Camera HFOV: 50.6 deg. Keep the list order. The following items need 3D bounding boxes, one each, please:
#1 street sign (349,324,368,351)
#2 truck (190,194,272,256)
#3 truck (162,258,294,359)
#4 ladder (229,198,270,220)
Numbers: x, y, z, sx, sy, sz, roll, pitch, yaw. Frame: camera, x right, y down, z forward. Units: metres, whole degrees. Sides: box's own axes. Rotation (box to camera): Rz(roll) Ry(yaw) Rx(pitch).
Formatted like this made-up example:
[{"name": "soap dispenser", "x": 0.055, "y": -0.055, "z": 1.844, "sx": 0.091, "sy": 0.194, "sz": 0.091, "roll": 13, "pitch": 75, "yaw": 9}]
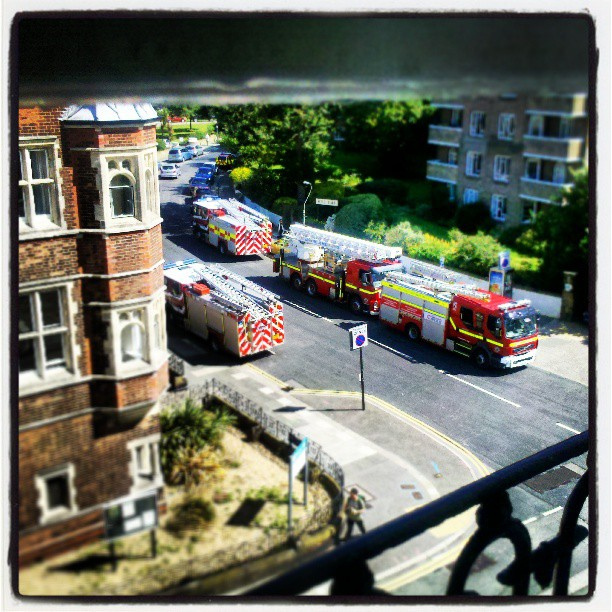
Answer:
[{"name": "street sign", "x": 0.870, "y": 0.525, "z": 10.785, "sx": 0.087, "sy": 0.571, "sz": 0.584, "roll": 1, "pitch": 9, "yaw": 38}, {"name": "truck", "x": -2.250, "y": -2.575, "z": 19.303, "sx": 1.575, "sy": 1.628, "sz": 3.135, "roll": -9, "pitch": 29, "yaw": -32}, {"name": "truck", "x": -1.631, "y": 0.103, "z": 13.249, "sx": 2.440, "sy": 1.734, "sz": 1.543, "roll": 10, "pitch": 6, "yaw": 15}, {"name": "ladder", "x": -1.650, "y": -2.687, "z": 18.020, "sx": 1.038, "sy": 0.383, "sz": 2.225, "roll": 8, "pitch": 7, "yaw": -9}]
